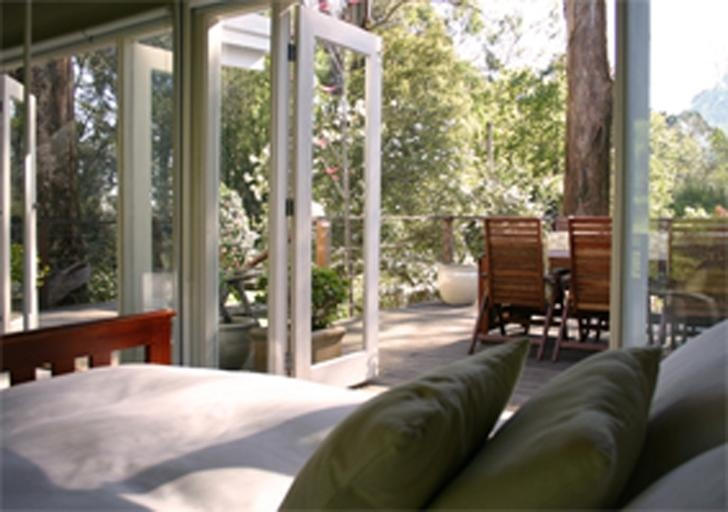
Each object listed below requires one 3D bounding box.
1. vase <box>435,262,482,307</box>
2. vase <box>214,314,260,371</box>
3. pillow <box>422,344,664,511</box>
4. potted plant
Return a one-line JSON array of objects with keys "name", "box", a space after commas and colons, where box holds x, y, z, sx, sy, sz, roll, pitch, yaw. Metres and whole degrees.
[{"name": "vase", "box": [1.142, 0.344, 7.888, 0.452, 0.336, 0.458, 1, 7, -1]}, {"name": "vase", "box": [-0.819, 0.552, 4.060, 0.281, 0.301, 0.376, 3, 5, 5]}, {"name": "pillow", "box": [0.408, 0.364, 1.377, 0.321, 0.239, 0.551, -4, -2, 37]}, {"name": "potted plant", "box": [-0.294, 0.343, 4.051, 0.488, 0.871, 0.829, 0, -1, 34]}]
